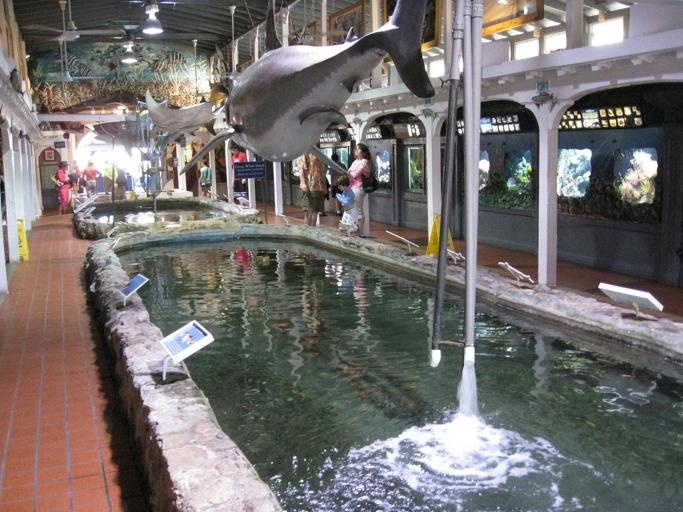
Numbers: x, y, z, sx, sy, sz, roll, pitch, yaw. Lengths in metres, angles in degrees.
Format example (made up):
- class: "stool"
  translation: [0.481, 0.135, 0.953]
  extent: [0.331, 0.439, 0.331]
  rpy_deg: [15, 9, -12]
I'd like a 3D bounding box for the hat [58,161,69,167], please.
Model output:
- class: "hat"
  translation: [-12.165, -3.959, 21.216]
  extent: [0.376, 0.172, 0.498]
  rpy_deg: [-7, 9, -23]
